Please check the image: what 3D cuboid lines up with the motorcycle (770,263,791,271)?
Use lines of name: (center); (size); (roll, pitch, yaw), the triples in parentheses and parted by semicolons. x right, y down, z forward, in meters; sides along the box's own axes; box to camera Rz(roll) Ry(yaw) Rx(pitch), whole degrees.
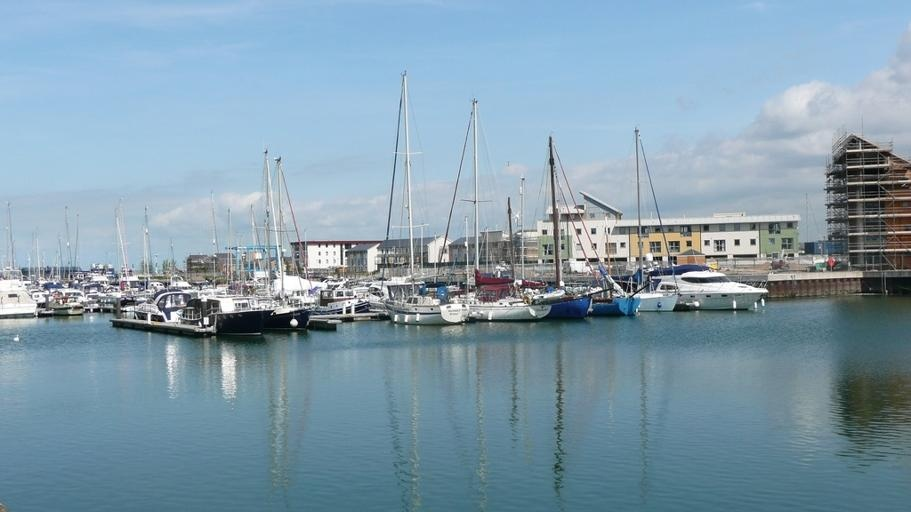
motorcycle: (44.161, 1.795, 148.294); (2.182, 1.069, 1.892); (0, 2, 18)
